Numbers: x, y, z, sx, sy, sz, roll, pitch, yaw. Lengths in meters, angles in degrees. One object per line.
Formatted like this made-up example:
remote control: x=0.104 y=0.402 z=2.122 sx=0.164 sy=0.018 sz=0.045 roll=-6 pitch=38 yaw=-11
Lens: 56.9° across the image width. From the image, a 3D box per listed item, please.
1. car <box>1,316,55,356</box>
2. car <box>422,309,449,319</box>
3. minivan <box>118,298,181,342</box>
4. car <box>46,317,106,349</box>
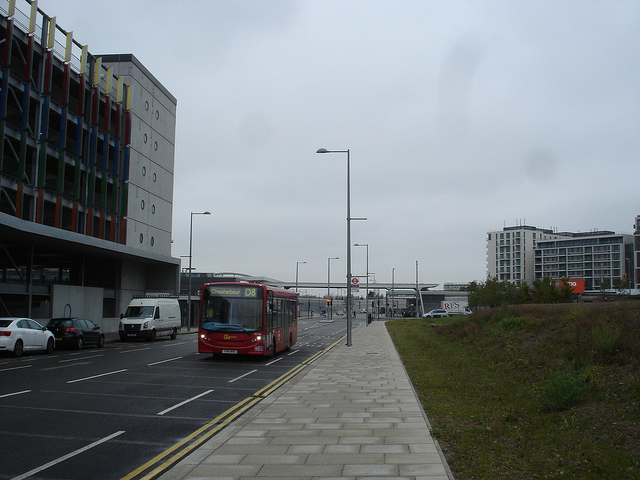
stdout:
car: x=-12.663 y=4.118 z=25.369 sx=1.100 sy=1.075 sz=2.570 roll=-1 pitch=-5 yaw=9
car: x=17.448 y=11.044 z=87.863 sx=3.347 sy=1.217 sz=7.059 roll=-1 pitch=-2 yaw=9
minivan: x=-11.028 y=5.181 z=38.826 sx=2.111 sy=2.993 sz=5.904 roll=-2 pitch=-8 yaw=9
car: x=-12.579 y=4.805 z=30.607 sx=1.276 sy=1.030 sz=2.514 roll=-2 pitch=-6 yaw=8
